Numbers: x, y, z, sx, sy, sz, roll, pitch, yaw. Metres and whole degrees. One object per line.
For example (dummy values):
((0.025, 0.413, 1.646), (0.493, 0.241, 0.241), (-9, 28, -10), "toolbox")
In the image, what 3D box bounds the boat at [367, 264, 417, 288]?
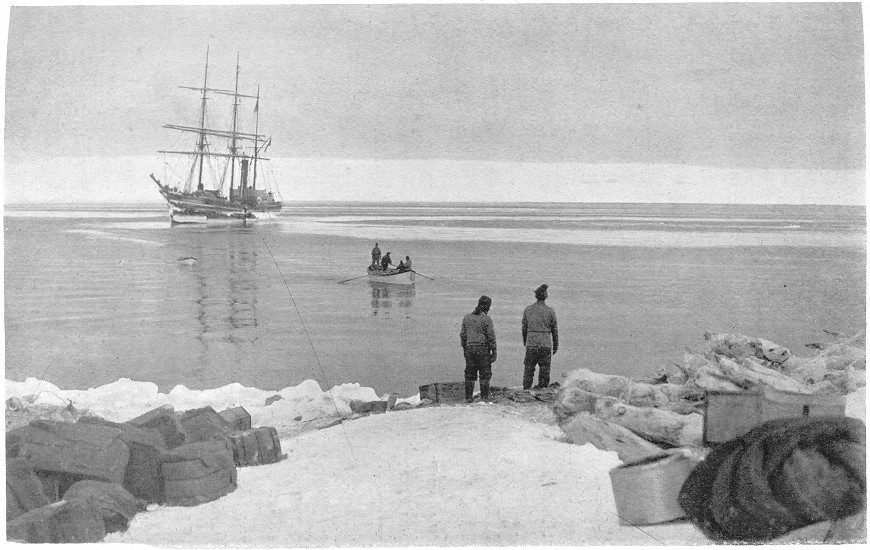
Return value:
((-1.508, 0.044, 31.500), (0.639, 0.411, 1.763), (1, 3, -33), "boat")

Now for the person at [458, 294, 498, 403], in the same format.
((0.724, 1.200, 15.497), (0.572, 1.766, 0.872), (1, 5, 1), "person")

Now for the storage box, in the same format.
((4.571, 1.922, 12.254), (1.826, 0.776, 0.510), (-1, 5, -14), "storage box")
